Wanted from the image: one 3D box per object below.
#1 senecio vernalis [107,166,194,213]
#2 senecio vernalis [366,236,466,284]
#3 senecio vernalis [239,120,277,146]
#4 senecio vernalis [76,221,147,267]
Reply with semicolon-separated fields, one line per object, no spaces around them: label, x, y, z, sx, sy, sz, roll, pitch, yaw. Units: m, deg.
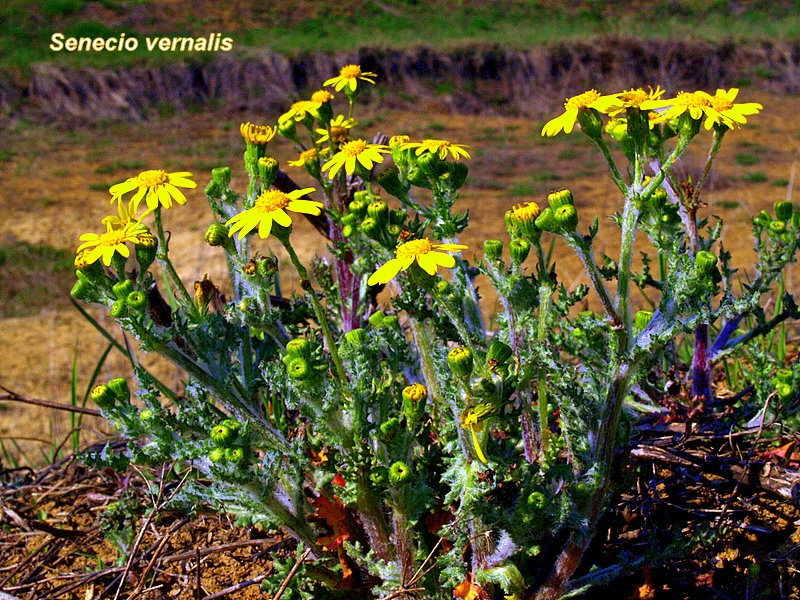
senecio vernalis;-3.530;-1.618;22.824;1.157;0.476;1.361;-12;-5;-2
senecio vernalis;0.150;-0.584;22.509;1.112;0.517;1.318;-14;-20;24
senecio vernalis;-2.024;-2.380;23.116;0.528;0.421;0.405;-11;29;-7
senecio vernalis;-4.082;-0.784;22.731;0.983;0.467;0.430;-7;29;0
